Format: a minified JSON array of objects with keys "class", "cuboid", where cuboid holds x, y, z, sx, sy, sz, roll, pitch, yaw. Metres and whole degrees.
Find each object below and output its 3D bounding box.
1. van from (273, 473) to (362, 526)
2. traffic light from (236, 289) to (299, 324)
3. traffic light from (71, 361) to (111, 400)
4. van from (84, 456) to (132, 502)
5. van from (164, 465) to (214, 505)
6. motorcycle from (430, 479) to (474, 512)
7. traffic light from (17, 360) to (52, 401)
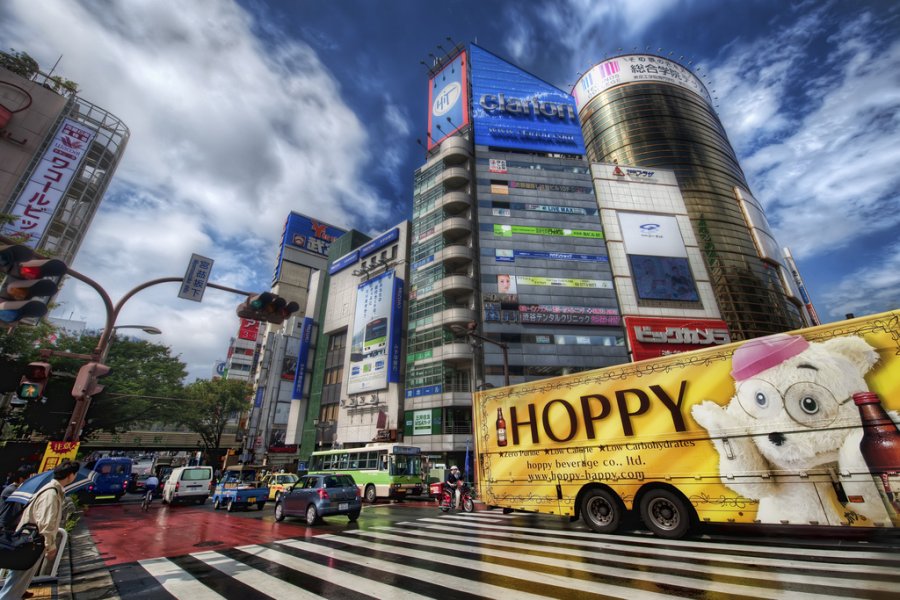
[{"class":"van","cuboid":[-5.442,7.831,15.279,3.453,1.372,1.959,-17,-30,35]},{"class":"traffic light","cuboid":[-5.583,0.204,11.880,1.552,0.975,1.237,7,-23,-18]},{"class":"traffic light","cuboid":[-10.693,2.402,11.520,0.623,1.143,0.961,20,-31,-37]},{"class":"van","cuboid":[-21.534,11.133,24.036,2.293,1.793,3.486,8,-8,-33]},{"class":"van","cuboid":[-15.382,11.006,22.886,1.953,2.109,1.811,17,-29,-35]},{"class":"motorcycle","cuboid":[0.154,9.035,17.703,1.717,1.220,1.747,1,-22,-5]},{"class":"traffic light","cuboid":[-12.503,2.431,11.652,0.550,1.140,0.663,22,-33,-39]}]
